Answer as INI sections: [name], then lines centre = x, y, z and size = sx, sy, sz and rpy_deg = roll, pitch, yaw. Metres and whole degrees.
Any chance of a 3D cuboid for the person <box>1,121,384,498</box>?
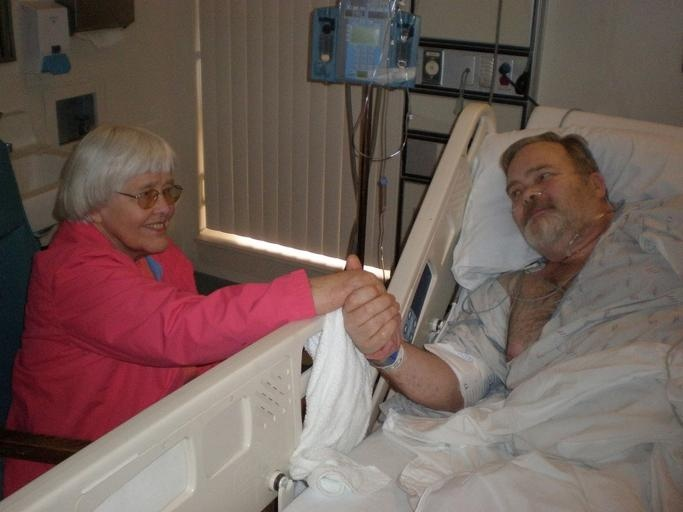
[person]
centre = -0.541, 0.161, 1.529
size = 0.913, 0.884, 0.564
rpy_deg = 22, 27, 33
